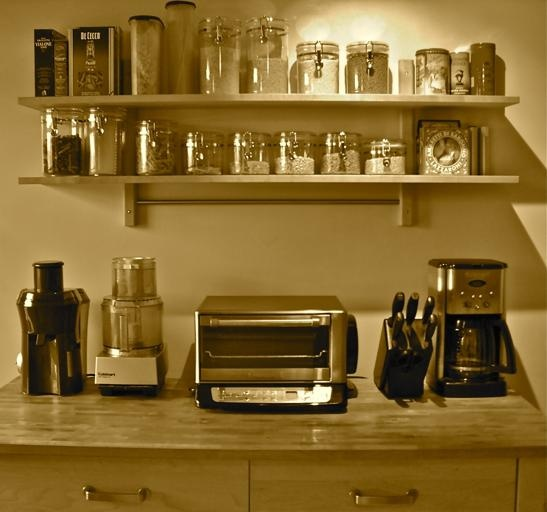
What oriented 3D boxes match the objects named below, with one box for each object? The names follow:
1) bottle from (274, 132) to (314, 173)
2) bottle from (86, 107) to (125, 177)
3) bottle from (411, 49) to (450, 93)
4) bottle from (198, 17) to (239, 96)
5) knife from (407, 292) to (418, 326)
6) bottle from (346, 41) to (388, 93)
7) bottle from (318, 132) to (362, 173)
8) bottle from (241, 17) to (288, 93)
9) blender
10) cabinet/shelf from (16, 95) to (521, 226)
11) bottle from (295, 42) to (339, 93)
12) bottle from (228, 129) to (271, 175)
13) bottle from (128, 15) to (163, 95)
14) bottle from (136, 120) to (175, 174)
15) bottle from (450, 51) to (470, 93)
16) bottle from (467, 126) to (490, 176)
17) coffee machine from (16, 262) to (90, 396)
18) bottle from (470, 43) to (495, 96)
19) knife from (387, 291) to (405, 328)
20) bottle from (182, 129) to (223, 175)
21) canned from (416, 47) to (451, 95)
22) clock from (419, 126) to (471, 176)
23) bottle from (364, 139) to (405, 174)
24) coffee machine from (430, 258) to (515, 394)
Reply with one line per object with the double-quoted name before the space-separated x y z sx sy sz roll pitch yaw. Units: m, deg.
"bottle" 0.066 -0.326 2.402 0.123 0.136 0.125 0 -3 2
"bottle" -0.580 -0.380 2.399 0.132 0.220 0.137 6 14 -1
"bottle" 0.520 -0.596 2.393 0.122 0.145 0.121 -4 7 -33
"bottle" -0.170 -0.634 2.313 0.126 0.226 0.078 -2 14 -5
"knife" 0.435 0.167 2.288 0.040 0.150 0.035 2 37 14
"bottle" 0.296 -0.594 2.315 0.138 0.160 0.159 0 2 1
"bottle" 0.220 -0.330 2.399 0.156 0.140 0.165 -1 0 16
"bottle" -0.022 -0.644 2.393 0.153 0.247 0.150 1 8 0
"blender" -0.466 0.215 2.371 0.222 0.423 0.338 -3 15 -10
"cabinet/shelf" -0.023 -0.301 2.489 1.640 0.430 0.283 0 -5 2
"bottle" 0.146 -0.610 2.380 0.195 0.168 0.203 -4 13 -11
"bottle" -0.076 -0.334 2.354 0.127 0.131 0.135 -1 -1 10
"bottle" -0.408 -0.653 2.352 0.115 0.264 0.108 -1 -3 0
"bottle" -0.392 -0.354 2.382 0.124 0.181 0.152 6 10 27
"bottle" 0.605 -0.596 2.377 0.059 0.131 0.051 2 14 9
"bottle" 0.684 -0.352 2.434 0.072 0.154 0.192 3 15 15
"coffee machine" -0.698 0.225 2.325 0.232 0.414 0.201 -7 15 -23
"bottle" 0.684 -0.614 2.393 0.081 0.162 0.078 -1 14 0
"knife" 0.381 0.167 2.306 0.033 0.151 0.037 18 50 12
"bottle" -0.227 -0.329 2.352 0.129 0.141 0.129 0 0 -34
"canned" 0.519 -0.596 2.391 0.119 0.142 0.122 8 11 39
"clock" 0.562 -0.342 2.394 0.143 0.155 0.085 0 -8 1
"bottle" 0.363 -0.325 2.412 0.140 0.110 0.139 -2 9 0
"coffee machine" 0.646 0.214 2.368 0.243 0.424 0.318 -1 5 -6
